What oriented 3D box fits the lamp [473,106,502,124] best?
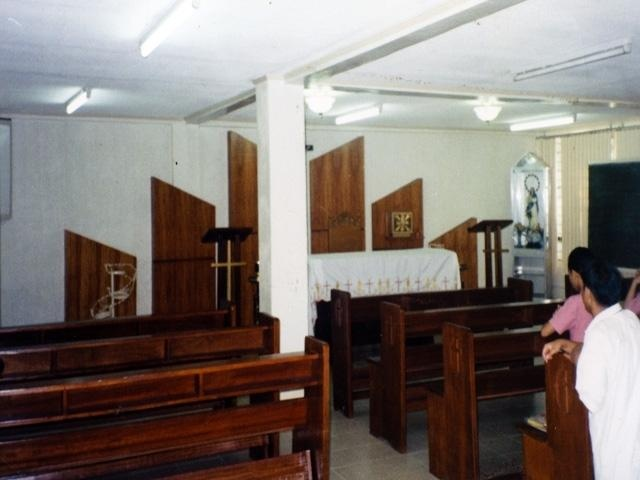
[{"bbox_3d":[1.807,-1.355,5.800,0.186,0.124,0.195,-1,8,11],"label":"lamp"}]

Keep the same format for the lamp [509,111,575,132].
[{"bbox_3d":[2.522,-1.313,6.044,0.206,0.139,0.724,-3,2,-43],"label":"lamp"}]
